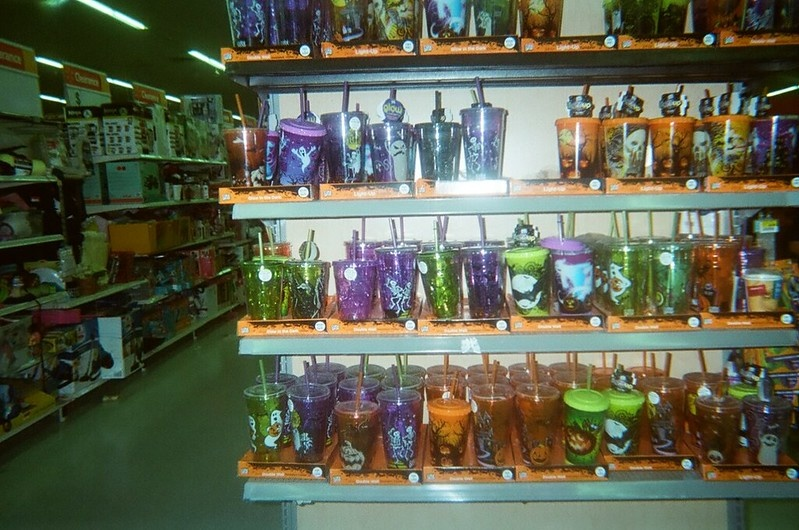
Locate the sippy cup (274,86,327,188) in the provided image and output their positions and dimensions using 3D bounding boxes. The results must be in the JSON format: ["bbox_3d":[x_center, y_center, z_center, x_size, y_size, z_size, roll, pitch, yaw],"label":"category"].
[{"bbox_3d":[-0.442,-0.511,2.652,0.220,0.286,0.124,-4,7,-14],"label":"sippy cup"}]

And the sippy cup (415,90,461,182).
[{"bbox_3d":[0.182,-0.511,2.653,0.212,0.253,0.078,-2,7,3],"label":"sippy cup"}]

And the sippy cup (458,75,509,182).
[{"bbox_3d":[0.390,-0.632,2.708,0.209,0.509,0.196,0,3,0],"label":"sippy cup"}]

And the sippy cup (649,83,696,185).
[{"bbox_3d":[1.250,-0.588,2.654,0.280,0.391,0.168,-6,8,-27],"label":"sippy cup"}]

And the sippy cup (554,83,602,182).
[{"bbox_3d":[0.829,-0.607,2.665,0.279,0.438,0.179,-9,10,-43],"label":"sippy cup"}]
